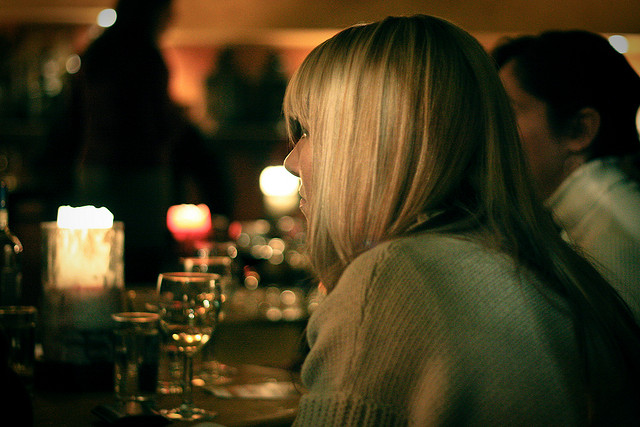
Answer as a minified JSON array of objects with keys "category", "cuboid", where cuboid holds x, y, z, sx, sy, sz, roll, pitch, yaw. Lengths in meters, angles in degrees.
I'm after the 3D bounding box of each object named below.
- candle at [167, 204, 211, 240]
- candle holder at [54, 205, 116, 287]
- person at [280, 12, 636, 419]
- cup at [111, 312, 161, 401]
[{"category":"candle","cuboid":[-0.518,0.025,3.250,0.133,0.157,0.125,2,10,11]},{"category":"candle holder","cuboid":[-0.470,0.066,1.634,0.107,0.151,0.060,0,7,-19]},{"category":"person","cuboid":[0.278,0.058,1.642,0.641,0.797,0.789,3,8,36]},{"category":"cup","cuboid":[-0.357,0.271,1.597,0.097,0.151,0.172,1,7,-14]}]
